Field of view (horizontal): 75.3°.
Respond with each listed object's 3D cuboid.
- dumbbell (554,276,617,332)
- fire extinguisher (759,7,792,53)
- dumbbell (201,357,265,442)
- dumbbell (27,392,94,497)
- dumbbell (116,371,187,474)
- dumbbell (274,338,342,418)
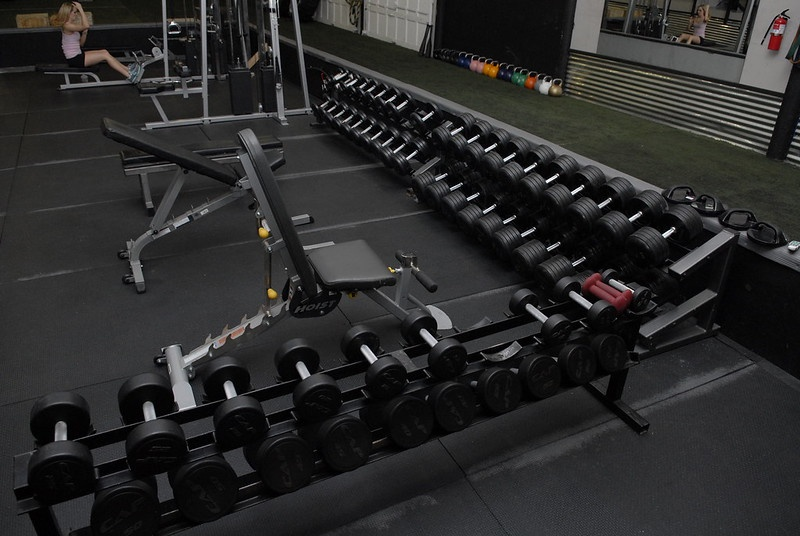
[{"bbox_3d":[0.790,0.155,2.187,0.087,0.091,0.201,-28,25,-4],"label":"dumbbell"},{"bbox_3d":[2.813,-1.774,3.883,0.095,0.283,0.157,1,34,-5],"label":"fire extinguisher"},{"bbox_3d":[-0.582,0.463,1.792,0.159,0.159,0.354,-8,22,-15],"label":"dumbbell"},{"bbox_3d":[-1.047,0.551,1.598,0.175,0.186,0.309,-14,37,-25],"label":"dumbbell"},{"bbox_3d":[-0.802,0.508,1.685,0.212,0.193,0.403,-9,29,-17],"label":"dumbbell"},{"bbox_3d":[-0.340,0.413,1.898,0.124,0.125,0.278,-17,22,-12],"label":"dumbbell"}]
